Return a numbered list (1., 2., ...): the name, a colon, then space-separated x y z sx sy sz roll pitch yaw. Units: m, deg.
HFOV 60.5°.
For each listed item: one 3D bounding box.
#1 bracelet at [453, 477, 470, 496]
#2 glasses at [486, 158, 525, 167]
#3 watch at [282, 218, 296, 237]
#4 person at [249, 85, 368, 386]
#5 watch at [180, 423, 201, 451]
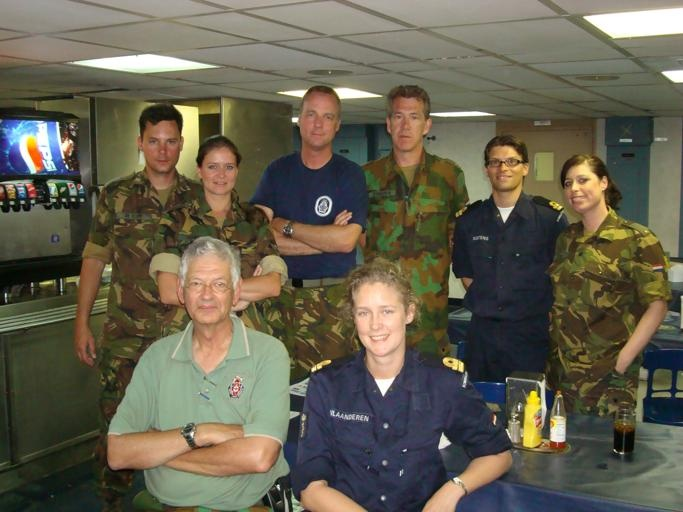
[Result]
1. bracelet: 0.434 0.848 2.179 0.023 0.059 0.060 -42 -2 -11
2. glasses: 1.001 -0.569 3.624 0.204 0.055 0.070 1 5 13
3. watch: -0.316 -0.165 3.479 0.080 0.085 0.089 24 -6 13
4. person: -0.154 0.089 3.684 0.824 2.055 0.591 6 16 29
5. watch: -0.611 0.721 2.365 0.073 0.100 0.090 -22 52 -3
